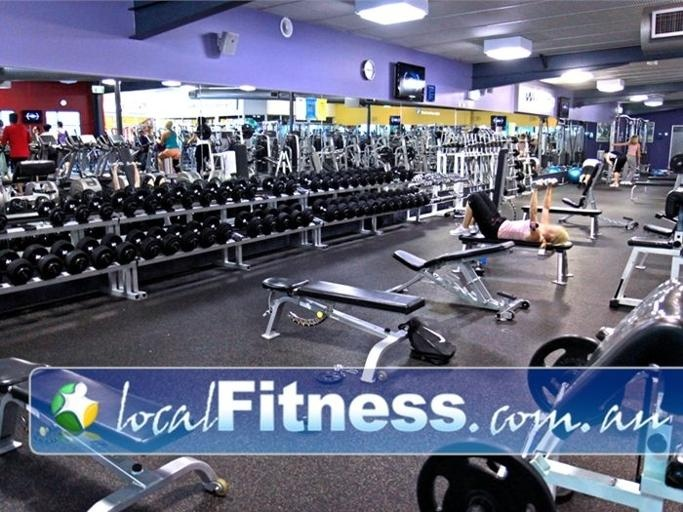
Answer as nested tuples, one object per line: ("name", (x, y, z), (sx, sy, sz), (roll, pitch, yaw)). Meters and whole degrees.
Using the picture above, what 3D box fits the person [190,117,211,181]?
("person", (-1.633, -1.295, 5.409), (0.190, 0.780, 0.183), (-1, 39, -18))

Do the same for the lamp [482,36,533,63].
("lamp", (2.614, -3.264, 7.246), (0.601, 0.226, 0.666), (9, 18, 31))

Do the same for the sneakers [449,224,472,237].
("sneakers", (1.236, -0.250, 4.744), (0.139, 0.145, 0.342), (-4, 5, -16))

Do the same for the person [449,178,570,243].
("person", (1.485, -0.395, 4.153), (0.375, 0.509, 1.142), (-14, 17, -36))

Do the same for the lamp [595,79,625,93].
("lamp", (6.675, -4.229, 11.475), (0.719, 0.222, 0.623), (-2, 8, -8))

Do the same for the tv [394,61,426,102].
("tv", (1.134, -2.861, 7.724), (0.765, 0.556, 0.086), (-16, 19, -42))
